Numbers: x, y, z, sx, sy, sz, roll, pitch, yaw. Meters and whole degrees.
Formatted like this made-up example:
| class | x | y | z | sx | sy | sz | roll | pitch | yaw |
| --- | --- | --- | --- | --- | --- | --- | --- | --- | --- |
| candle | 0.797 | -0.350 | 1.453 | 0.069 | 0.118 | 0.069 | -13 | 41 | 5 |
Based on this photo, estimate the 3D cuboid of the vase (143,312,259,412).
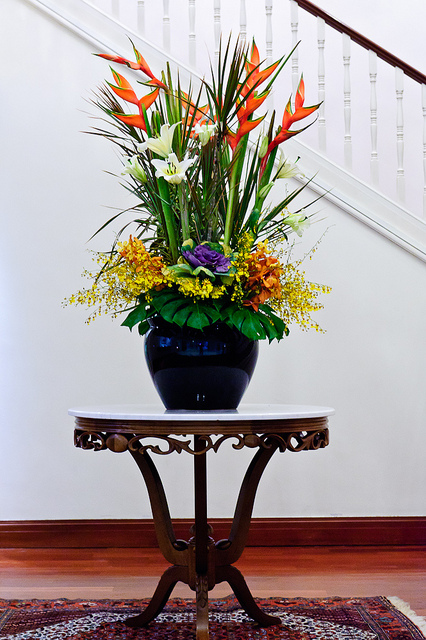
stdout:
| class | x | y | z | sx | sy | sz | roll | pitch | yaw |
| --- | --- | --- | --- | --- | --- | --- | --- | --- | --- |
| vase | -0.031 | 0.121 | 1.927 | 0.282 | 0.219 | 0.266 | 1 | -11 | -6 |

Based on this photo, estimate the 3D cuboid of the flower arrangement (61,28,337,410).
| class | x | y | z | sx | sy | sz | roll | pitch | yaw |
| --- | --- | --- | --- | --- | --- | --- | --- | --- | --- |
| flower arrangement | -0.064 | -0.282 | 2.151 | 0.624 | 1.082 | 0.852 | 0 | -2 | -13 |
